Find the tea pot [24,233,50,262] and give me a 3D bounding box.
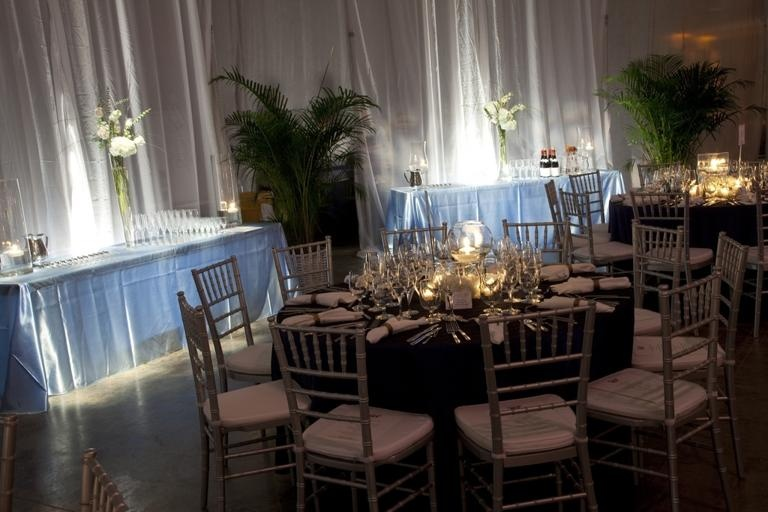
[{"bbox_3d":[-3.021,-0.078,4.617,0.276,0.270,0.212,-1,1,-42],"label":"tea pot"}]
